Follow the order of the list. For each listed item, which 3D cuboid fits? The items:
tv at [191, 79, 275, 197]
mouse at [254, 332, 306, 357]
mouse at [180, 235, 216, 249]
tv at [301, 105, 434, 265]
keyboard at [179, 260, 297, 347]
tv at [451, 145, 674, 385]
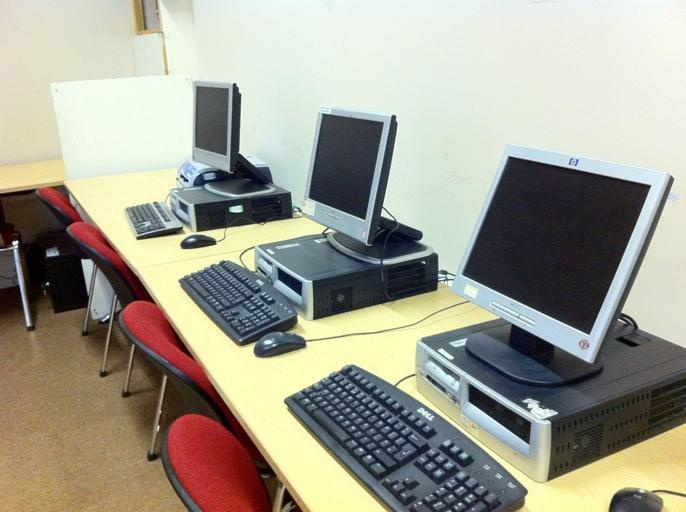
[{"bbox_3d":[-0.530,-0.567,2.721,0.333,0.545,0.542,-7,26,-36],"label":"tv"},{"bbox_3d":[-0.184,0.255,1.628,0.129,0.043,0.067,-14,29,-27],"label":"mouse"},{"bbox_3d":[-0.592,-0.058,2.308,0.111,0.037,0.061,-11,23,-30],"label":"mouse"},{"bbox_3d":[0.101,-0.245,1.972,0.297,0.469,0.464,-10,25,-31],"label":"tv"},{"bbox_3d":[-0.332,0.042,1.747,0.214,0.083,0.437,-20,31,-29],"label":"keyboard"},{"bbox_3d":[0.557,0.035,1.375,0.320,0.531,0.462,-8,22,-29],"label":"tv"}]
